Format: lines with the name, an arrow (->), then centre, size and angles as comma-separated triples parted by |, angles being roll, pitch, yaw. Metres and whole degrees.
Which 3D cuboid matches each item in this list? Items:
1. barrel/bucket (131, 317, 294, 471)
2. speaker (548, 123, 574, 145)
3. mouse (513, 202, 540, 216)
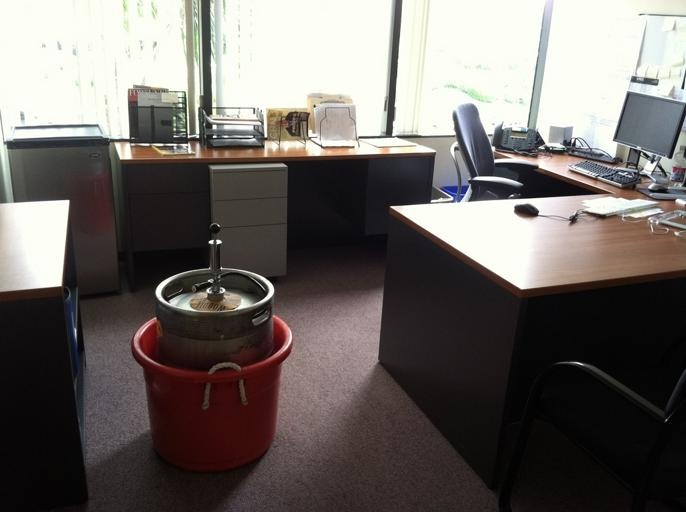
barrel/bucket -> -0.529, 0.609, 2.118 | 0.600, 0.469, 0.626 | 2, 20, -1
speaker -> 1.808, -1.007, 4.166 | 0.160, 0.163, 0.166 | 5, 39, 15
mouse -> 0.920, -0.231, 2.503 | 0.064, 0.041, 0.112 | -11, 20, -28
